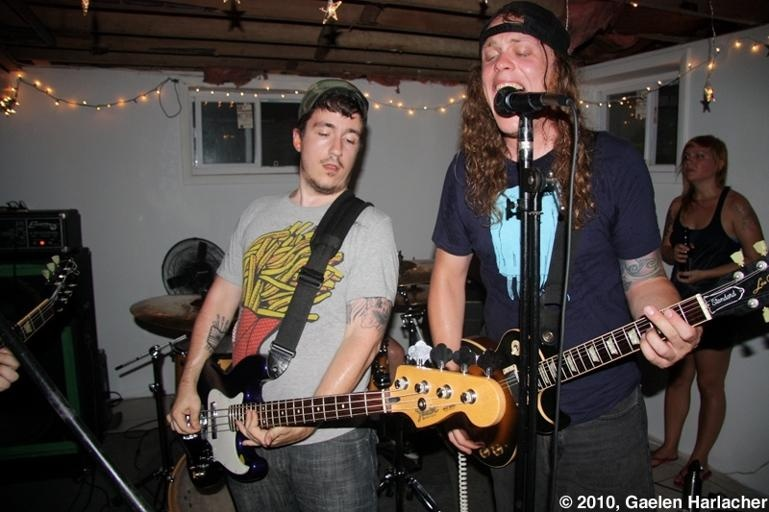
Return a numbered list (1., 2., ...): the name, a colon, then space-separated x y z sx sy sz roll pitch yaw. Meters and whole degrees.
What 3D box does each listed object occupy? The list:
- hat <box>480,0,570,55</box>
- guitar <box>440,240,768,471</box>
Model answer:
1. hat: 0.723 -1.104 2.955 0.351 0.165 0.297 22 5 -13
2. guitar: 1.297 0.539 3.236 1.791 0.658 0.277 -20 -15 23
